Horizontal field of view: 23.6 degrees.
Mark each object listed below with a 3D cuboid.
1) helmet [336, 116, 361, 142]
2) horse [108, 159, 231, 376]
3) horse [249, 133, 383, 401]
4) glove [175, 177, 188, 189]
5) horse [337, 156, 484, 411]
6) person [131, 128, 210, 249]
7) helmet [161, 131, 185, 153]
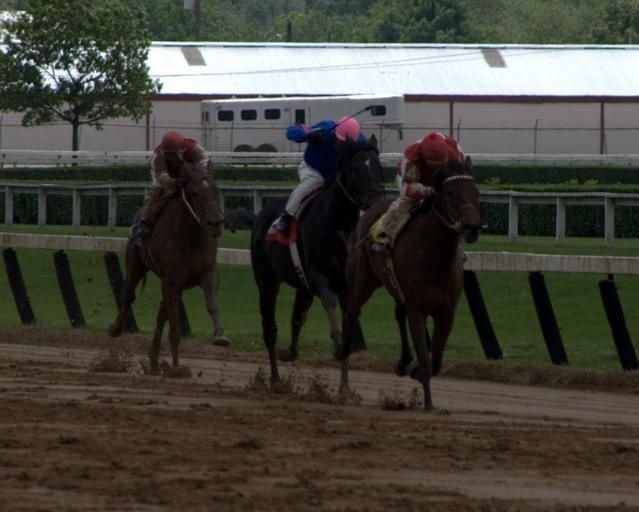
[{"bbox_3d":[0.409,-1.707,20.536,0.290,0.352,0.266,7,-5,-11],"label":"helmet"},{"bbox_3d":[-1.893,0.218,20.902,0.813,2.931,2.192,-11,17,-39],"label":"horse"},{"bbox_3d":[-0.093,0.327,21.111,1.041,3.231,4.342,2,-10,-25],"label":"horse"},{"bbox_3d":[-1.844,-0.984,20.732,0.108,0.164,0.057,4,-9,28],"label":"glove"},{"bbox_3d":[1.215,0.316,19.585,1.909,3.150,0.933,11,17,40],"label":"horse"},{"bbox_3d":[-2.051,-0.968,21.566,0.809,1.469,2.446,3,-15,-10],"label":"person"},{"bbox_3d":[-1.984,-1.565,20.974,0.213,0.269,0.319,-1,39,6],"label":"helmet"}]
